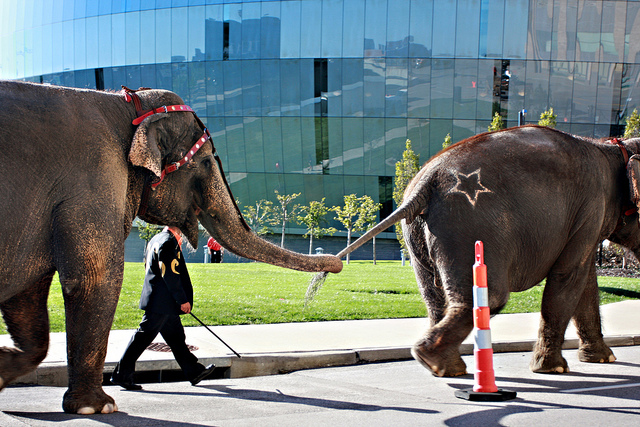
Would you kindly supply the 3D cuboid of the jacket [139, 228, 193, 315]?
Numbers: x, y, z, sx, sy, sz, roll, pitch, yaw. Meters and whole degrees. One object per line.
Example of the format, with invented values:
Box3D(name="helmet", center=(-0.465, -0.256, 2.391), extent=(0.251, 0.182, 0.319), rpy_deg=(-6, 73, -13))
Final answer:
Box3D(name="jacket", center=(-3.044, 1.148, 21.347), extent=(1.241, 1.727, 0.922), rpy_deg=(4, 0, -22))
